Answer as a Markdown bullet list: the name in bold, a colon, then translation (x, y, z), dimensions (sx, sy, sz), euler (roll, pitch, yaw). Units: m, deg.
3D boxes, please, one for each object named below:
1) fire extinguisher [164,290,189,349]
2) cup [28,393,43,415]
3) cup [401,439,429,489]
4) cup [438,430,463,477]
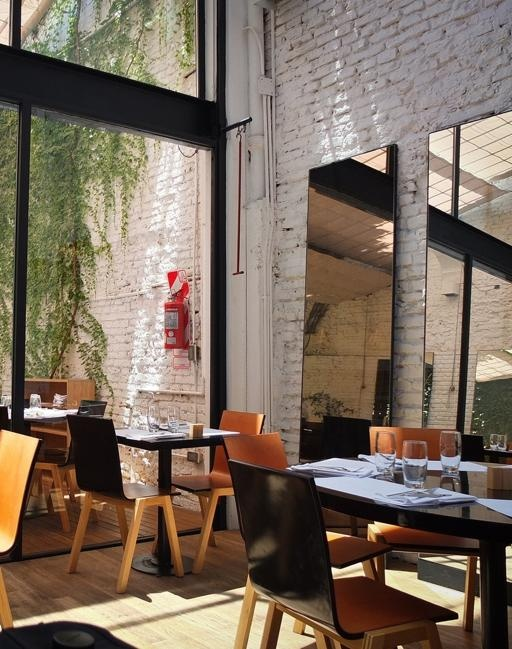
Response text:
- **fire extinguisher**: translation (-0.695, -0.014, 4.663), dimensions (0.232, 0.472, 0.125), euler (1, -7, 1)
- **cup**: translation (-1.632, 0.590, 3.992), dimensions (0.104, 0.199, 0.109), euler (-1, -5, 0)
- **cup**: translation (0.392, 0.348, 1.345), dimensions (0.053, 0.117, 0.084), euler (-1, -7, 12)
- **cup**: translation (0.550, 0.367, 1.541), dimensions (0.051, 0.125, 0.077), euler (-1, -7, 17)
